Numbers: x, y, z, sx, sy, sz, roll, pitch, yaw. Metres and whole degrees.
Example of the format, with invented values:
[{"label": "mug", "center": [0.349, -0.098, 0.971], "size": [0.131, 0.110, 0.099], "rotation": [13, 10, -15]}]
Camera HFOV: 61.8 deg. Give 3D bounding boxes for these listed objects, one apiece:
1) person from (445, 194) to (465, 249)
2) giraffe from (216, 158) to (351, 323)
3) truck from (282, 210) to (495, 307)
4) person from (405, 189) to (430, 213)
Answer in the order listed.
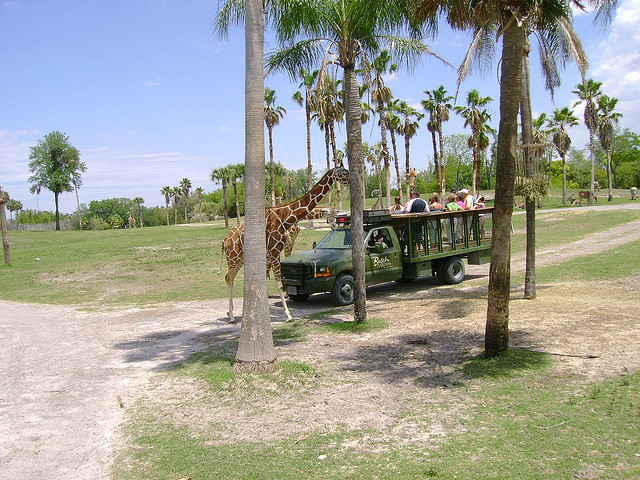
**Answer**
[{"label": "person", "center": [4.656, -0.679, 18.667], "size": [0.596, 2.176, 0.704], "rotation": [2, 10, 11]}, {"label": "giraffe", "center": [-1.044, 0.017, 14.723], "size": [3.278, 4.186, 2.365], "rotation": [-4, 2, -7]}, {"label": "truck", "center": [2.218, 0.337, 17.730], "size": [6.936, 2.454, 3.062], "rotation": [-3, 1, -39]}, {"label": "person", "center": [3.375, -1.416, 18.765], "size": [0.829, 0.822, 1.167], "rotation": [-3, 2, 9]}]
